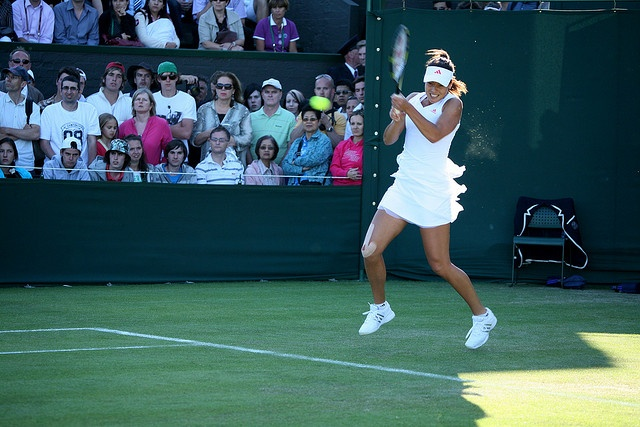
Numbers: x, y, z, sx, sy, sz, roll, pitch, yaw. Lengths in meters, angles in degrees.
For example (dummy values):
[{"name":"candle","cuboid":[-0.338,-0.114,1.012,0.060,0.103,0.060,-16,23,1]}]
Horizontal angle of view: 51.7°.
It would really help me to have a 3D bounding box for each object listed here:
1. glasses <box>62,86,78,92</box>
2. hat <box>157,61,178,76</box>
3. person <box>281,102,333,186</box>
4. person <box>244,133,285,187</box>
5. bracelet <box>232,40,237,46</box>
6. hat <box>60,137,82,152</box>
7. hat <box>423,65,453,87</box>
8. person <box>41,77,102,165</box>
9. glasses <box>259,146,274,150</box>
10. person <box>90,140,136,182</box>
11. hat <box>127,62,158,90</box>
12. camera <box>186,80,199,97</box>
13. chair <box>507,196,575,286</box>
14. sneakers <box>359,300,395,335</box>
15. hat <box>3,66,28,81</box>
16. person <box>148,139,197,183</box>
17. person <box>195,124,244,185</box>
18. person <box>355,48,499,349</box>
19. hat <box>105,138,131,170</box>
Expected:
[{"name":"glasses","cuboid":[-3.539,-1.765,9.344,0.199,0.082,0.092,-1,6,-18]},{"name":"hat","cuboid":[-2.335,-2.239,10.099,0.287,0.160,0.265,0,0,-12]},{"name":"person","cuboid":[-0.196,-1.021,9.779,0.695,1.159,0.243,1,7,-1]},{"name":"person","cuboid":[-0.821,-0.786,9.698,0.571,0.700,0.364,0,7,-5]},{"name":"bracelet","cuboid":[-1.519,-2.993,11.585,0.064,0.075,0.030,8,-11,15]},{"name":"hat","cuboid":[-3.438,-0.966,9.139,0.273,0.183,0.334,-1,6,-20]},{"name":"hat","cuboid":[1.014,-1.170,5.640,0.258,0.174,0.166,1,6,-2]},{"name":"person","cuboid":[-3.560,-1.248,9.367,0.906,1.304,0.784,-4,19,-37]},{"name":"glasses","cuboid":[-0.776,-0.968,9.564,0.181,0.073,0.029,0,7,-6]},{"name":"person","cuboid":[-2.860,-0.715,9.160,0.631,0.670,0.411,4,8,-8]},{"name":"hat","cuboid":[-2.770,-2.138,10.245,0.445,0.190,0.470,1,-32,-6]},{"name":"camera","cuboid":[-2.056,-2.038,10.716,0.207,0.236,0.233,-14,15,-34]},{"name":"chair","cuboid":[2.995,0.384,9.006,0.709,1.105,0.718,1,-4,15]},{"name":"sneakers","cuboid":[0.469,0.932,5.929,0.434,0.176,0.167,-30,23,-30]},{"name":"hat","cuboid":[-4.294,-1.994,9.348,0.370,0.203,0.229,-4,8,-40]},{"name":"person","cuboid":[-2.094,-0.707,9.443,0.836,0.645,0.429,3,4,-10]},{"name":"person","cuboid":[-1.447,-0.836,9.504,0.698,0.817,0.381,-1,7,-14]},{"name":"person","cuboid":[0.931,-0.147,5.710,1.146,2.559,0.642,2,7,8]},{"name":"hat","cuboid":[-2.804,-0.814,9.112,0.331,0.405,0.270,-1,7,-17]}]
